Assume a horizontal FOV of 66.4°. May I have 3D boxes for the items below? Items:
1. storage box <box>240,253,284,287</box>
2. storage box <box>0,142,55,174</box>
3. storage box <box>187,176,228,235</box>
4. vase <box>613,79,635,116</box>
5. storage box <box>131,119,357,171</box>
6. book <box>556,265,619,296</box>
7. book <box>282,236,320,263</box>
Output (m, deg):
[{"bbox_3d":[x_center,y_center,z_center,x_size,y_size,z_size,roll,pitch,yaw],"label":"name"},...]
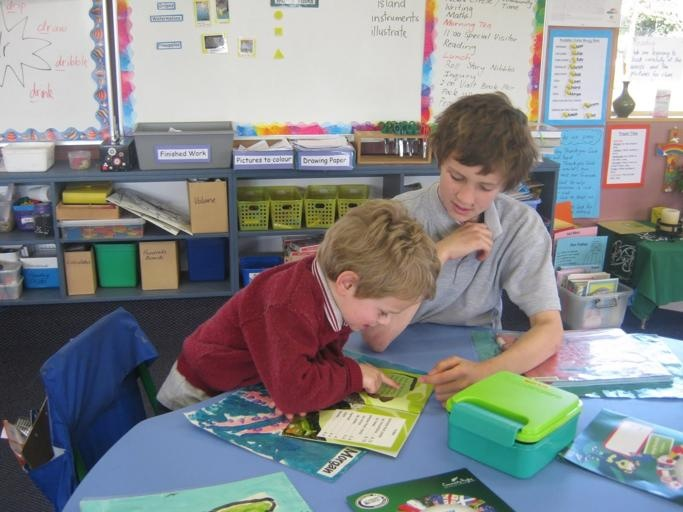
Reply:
[{"bbox_3d":[-0.461,0.083,3.189,0.285,0.115,0.193,-7,17,-18],"label":"storage box"},{"bbox_3d":[-1.687,-0.517,2.862,0.266,0.120,0.197,-1,14,-10],"label":"storage box"},{"bbox_3d":[-0.743,-0.266,2.925,0.292,0.371,0.282,-1,9,-10],"label":"storage box"},{"bbox_3d":[1.886,-1.035,3.488,0.129,0.234,0.186,4,12,27],"label":"vase"},{"bbox_3d":[-0.543,-0.618,2.957,1.196,0.299,0.378,-2,10,-3],"label":"storage box"},{"bbox_3d":[1.124,0.129,2.384,0.223,0.070,0.171,2,11,0],"label":"book"},{"bbox_3d":[-0.237,-0.085,3.070,0.165,0.107,0.229,-5,10,-17],"label":"book"}]
